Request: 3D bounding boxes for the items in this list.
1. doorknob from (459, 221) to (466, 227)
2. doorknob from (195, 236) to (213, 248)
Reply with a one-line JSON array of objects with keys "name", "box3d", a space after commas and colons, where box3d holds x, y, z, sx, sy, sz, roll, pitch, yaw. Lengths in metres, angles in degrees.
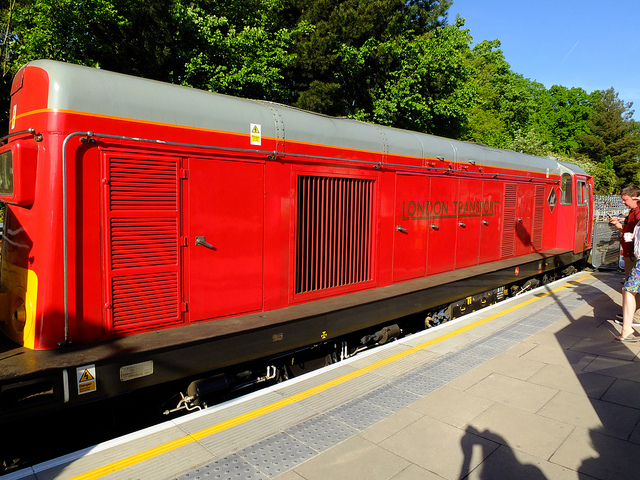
[{"name": "doorknob", "box3d": [2.645, -0.319, 8.207, 0.099, 0.033, 0.076, 11, 13, 21]}, {"name": "doorknob", "box3d": [-1.281, 0.009, 4.891, 0.188, 0.137, 0.052, -3, 11, -18]}]
